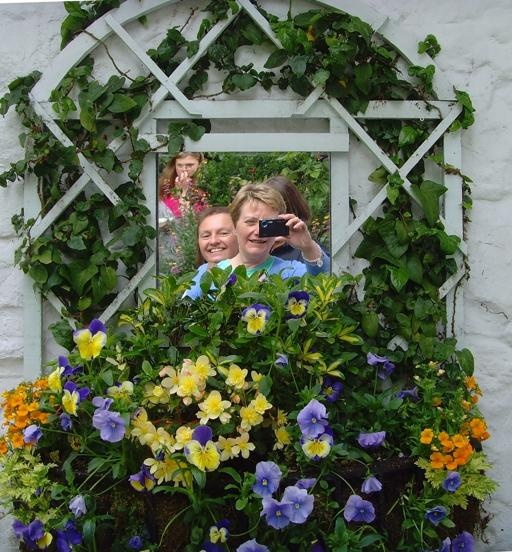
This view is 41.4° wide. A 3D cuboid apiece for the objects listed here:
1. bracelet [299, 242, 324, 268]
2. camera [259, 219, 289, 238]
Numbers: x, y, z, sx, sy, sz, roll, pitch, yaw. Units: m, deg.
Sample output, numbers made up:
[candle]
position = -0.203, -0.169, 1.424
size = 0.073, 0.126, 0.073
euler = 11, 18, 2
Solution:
[bracelet]
position = 0.206, -0.080, 2.499
size = 0.089, 0.066, 0.099
euler = -20, -4, -4
[camera]
position = 0.063, -0.170, 2.411
size = 0.132, 0.061, 0.064
euler = -1, -1, -3
